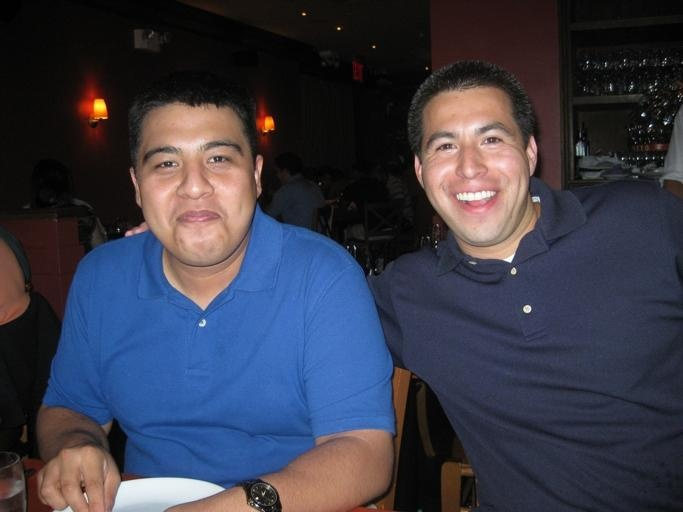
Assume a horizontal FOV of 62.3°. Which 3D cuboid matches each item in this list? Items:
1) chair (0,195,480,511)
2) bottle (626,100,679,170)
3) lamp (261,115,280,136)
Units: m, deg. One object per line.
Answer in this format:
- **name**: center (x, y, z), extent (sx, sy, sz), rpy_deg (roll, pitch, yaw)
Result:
- **chair**: center (-0.296, 0.340, 1.771), extent (1.288, 1.177, 0.645), rpy_deg (-3, 3, 3)
- **bottle**: center (1.904, -0.782, 3.592), extent (0.295, 0.344, 0.342), rpy_deg (2, 10, 14)
- **lamp**: center (-1.285, -2.370, 10.280), extent (0.264, 0.385, 0.336), rpy_deg (-1, 5, -11)
